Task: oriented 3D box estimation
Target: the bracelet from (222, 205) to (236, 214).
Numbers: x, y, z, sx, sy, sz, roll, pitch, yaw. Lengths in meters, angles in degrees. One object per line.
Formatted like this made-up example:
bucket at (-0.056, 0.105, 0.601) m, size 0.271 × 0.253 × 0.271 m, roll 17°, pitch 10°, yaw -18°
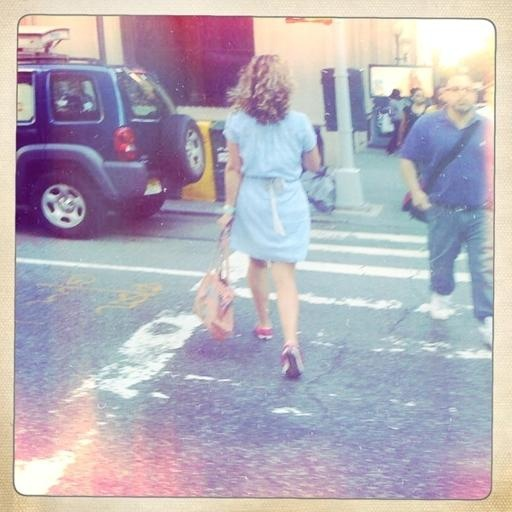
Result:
bracelet at (-0.119, -0.198, 2.369) m, size 0.037 × 0.028 × 0.036 m, roll 12°, pitch 2°, yaw -5°

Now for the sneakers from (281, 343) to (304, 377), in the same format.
sneakers at (0.144, 0.431, 2.272) m, size 0.072 × 0.123 × 0.053 m, roll -12°, pitch -17°, yaw 16°

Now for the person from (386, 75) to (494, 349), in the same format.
person at (0.766, -0.179, 2.189) m, size 0.369 × 1.019 × 0.245 m, roll 5°, pitch 13°, yaw 29°

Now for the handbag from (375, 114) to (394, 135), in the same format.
handbag at (0.495, -0.515, 2.155) m, size 0.047 × 0.079 × 0.045 m, roll -32°, pitch 12°, yaw -35°

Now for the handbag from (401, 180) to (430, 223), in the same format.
handbag at (0.610, -0.210, 2.153) m, size 0.095 × 0.107 × 0.120 m, roll 2°, pitch -9°, yaw 1°
